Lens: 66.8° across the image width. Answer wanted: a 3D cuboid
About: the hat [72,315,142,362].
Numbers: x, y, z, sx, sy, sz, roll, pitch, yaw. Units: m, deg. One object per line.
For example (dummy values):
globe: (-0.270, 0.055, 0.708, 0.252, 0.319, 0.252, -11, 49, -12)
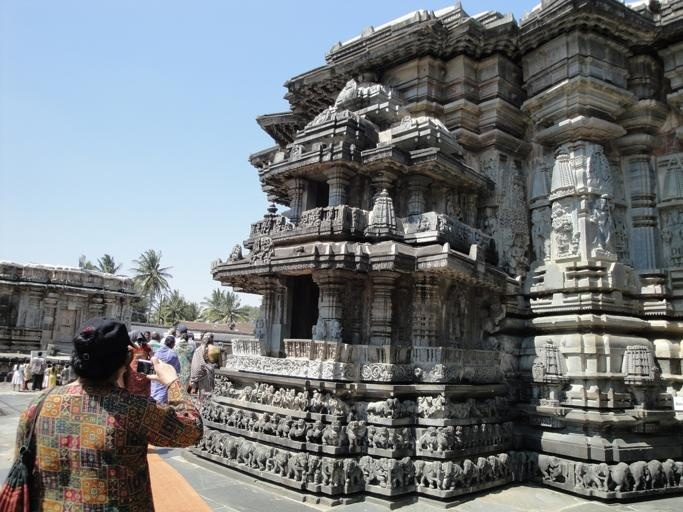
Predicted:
hat: (-2.177, 0.745, 4.822, 0.358, 0.287, 0.454, -9, 3, -3)
